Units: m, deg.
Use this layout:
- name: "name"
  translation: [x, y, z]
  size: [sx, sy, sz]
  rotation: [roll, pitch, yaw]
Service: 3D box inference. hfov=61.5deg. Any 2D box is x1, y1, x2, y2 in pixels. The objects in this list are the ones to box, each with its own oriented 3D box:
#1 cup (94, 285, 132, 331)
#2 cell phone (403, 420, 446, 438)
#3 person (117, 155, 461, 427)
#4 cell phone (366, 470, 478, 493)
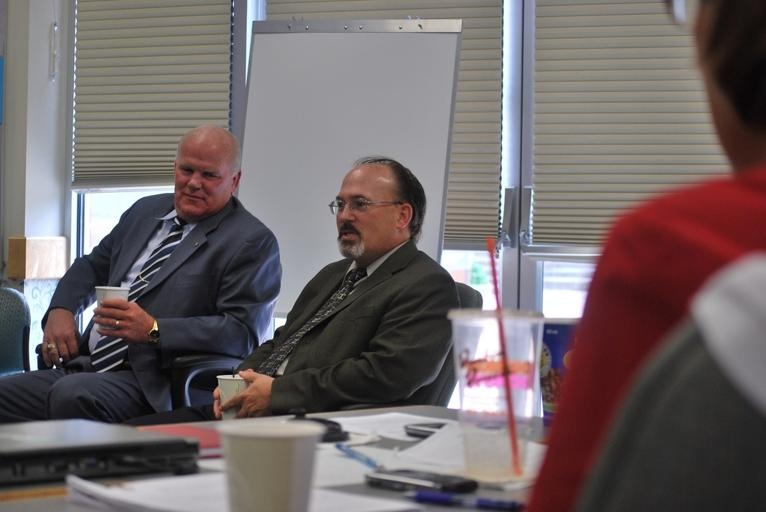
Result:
- name: "cup"
  translation: [-0.924, 0.152, 2.193]
  size: [0.089, 0.081, 0.087]
  rotation: [0, -1, 0]
- name: "cell phone"
  translation: [0.073, 0.302, 1.122]
  size: [0.072, 0.015, 0.139]
  rotation: [1, -7, 5]
- name: "person"
  translation: [-0.182, 0.174, 2.406]
  size: [1.033, 1.055, 0.729]
  rotation: [21, -18, -34]
- name: "cell phone"
  translation: [0.047, 0.288, 0.832]
  size: [0.083, 0.013, 0.047]
  rotation: [0, -2, 23]
